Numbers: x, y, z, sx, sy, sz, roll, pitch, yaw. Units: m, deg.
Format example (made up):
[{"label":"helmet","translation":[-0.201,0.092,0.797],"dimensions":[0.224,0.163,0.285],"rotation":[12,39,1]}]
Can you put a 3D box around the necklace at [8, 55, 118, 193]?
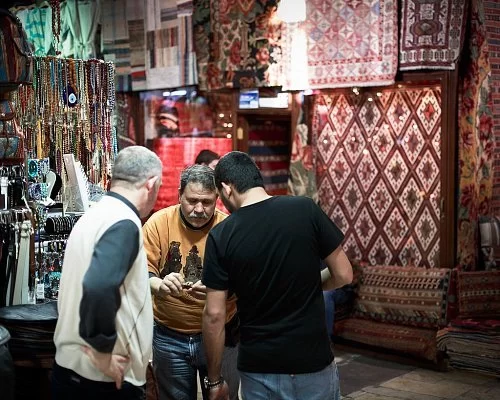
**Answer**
[{"label":"necklace","translation":[-1.646,-0.683,3.958],"dimensions":[0.186,1.465,1.299],"rotation":[0,1,33]}]
